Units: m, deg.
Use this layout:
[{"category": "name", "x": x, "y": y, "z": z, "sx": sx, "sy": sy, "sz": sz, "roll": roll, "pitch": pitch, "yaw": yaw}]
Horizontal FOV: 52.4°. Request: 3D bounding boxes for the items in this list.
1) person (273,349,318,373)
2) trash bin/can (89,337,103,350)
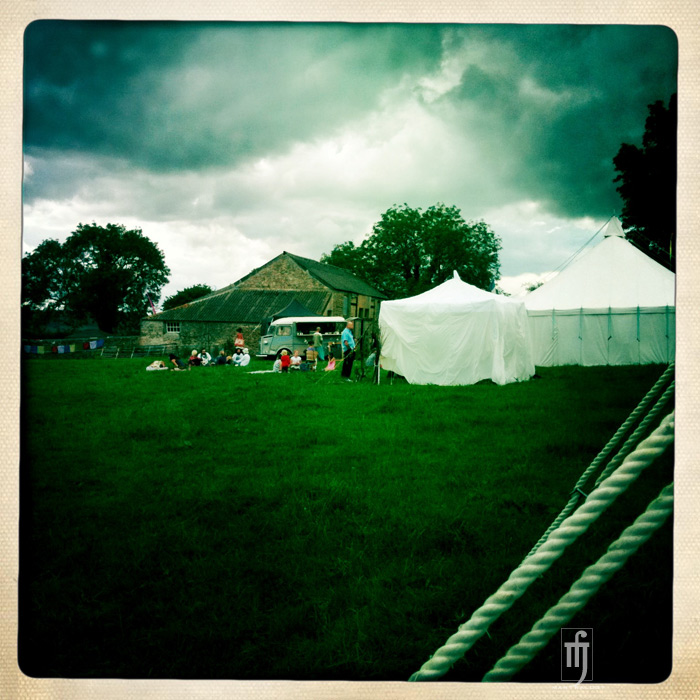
[{"category": "person", "x": -1.417, "y": 0.292, "z": 19.471, "sx": 0.629, "sy": 0.487, "sz": 1.015, "roll": 1, "pitch": 3, "yaw": 11}, {"category": "trash bin/can", "x": -10.219, "y": -0.248, "z": 28.801, "sx": 0.517, "sy": 0.320, "sz": 0.504, "roll": -5, "pitch": 3, "yaw": -9}]
